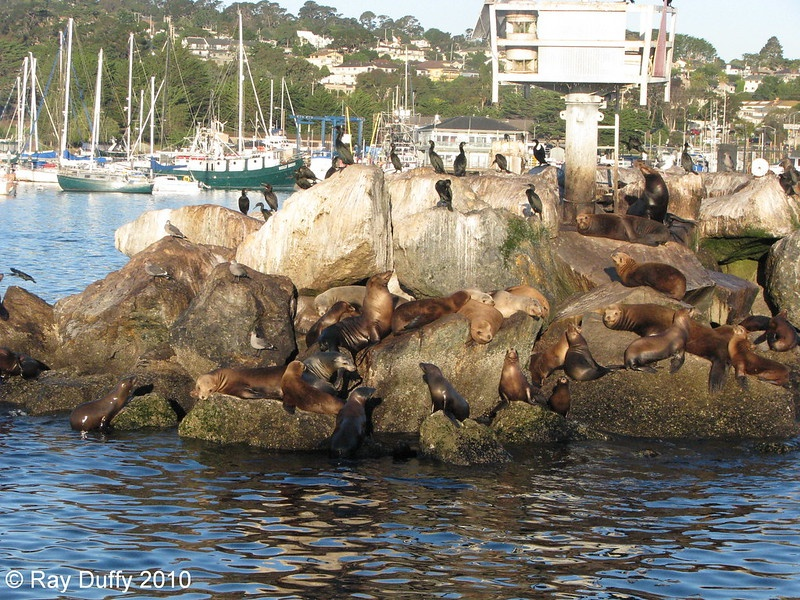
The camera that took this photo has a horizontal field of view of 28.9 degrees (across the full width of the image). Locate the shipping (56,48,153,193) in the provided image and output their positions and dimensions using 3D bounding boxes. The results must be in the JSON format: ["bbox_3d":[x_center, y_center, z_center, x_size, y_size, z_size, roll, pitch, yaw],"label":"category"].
[{"bbox_3d":[-17.735,-10.715,92.643,5.191,8.874,7.498,0,4,-12],"label":"shipping"}]

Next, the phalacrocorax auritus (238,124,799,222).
[{"bbox_3d":[6.232,-2.752,37.102,6.428,2.226,1.963,5,-23,9],"label":"phalacrocorax auritus"}]

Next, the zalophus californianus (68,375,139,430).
[{"bbox_3d":[-5.391,1.983,28.960,1.391,0.562,0.703,-37,5,-4],"label":"zalophus californianus"}]
